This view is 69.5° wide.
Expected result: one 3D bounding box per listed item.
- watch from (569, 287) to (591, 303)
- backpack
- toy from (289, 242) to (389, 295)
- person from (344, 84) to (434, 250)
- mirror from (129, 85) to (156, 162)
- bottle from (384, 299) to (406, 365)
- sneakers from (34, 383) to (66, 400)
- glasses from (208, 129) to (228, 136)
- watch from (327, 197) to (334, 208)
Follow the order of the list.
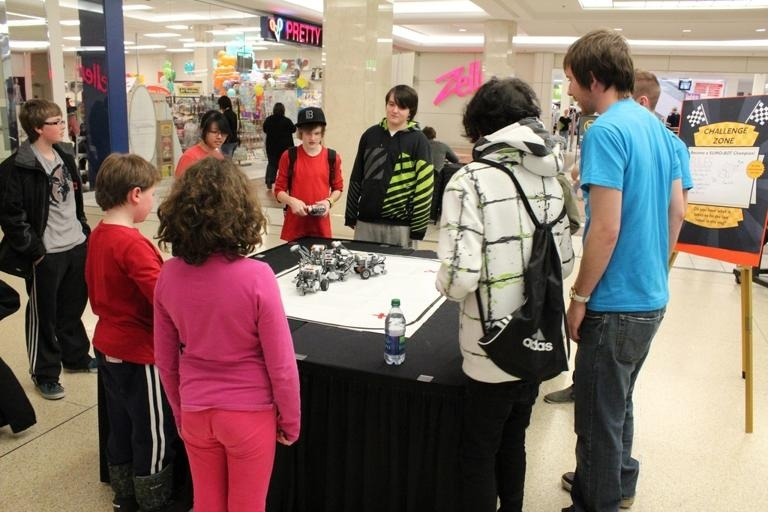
[{"bbox_3d":[0.966,0.187,2.763,0.092,0.061,0.095,5,-3,6],"label":"watch"},{"bbox_3d":[0.620,0.060,2.482,0.458,0.959,0.202,5,12,8],"label":"backpack"},{"bbox_3d":[-0.341,0.061,3.546,0.333,0.171,0.477,13,18,40],"label":"toy"},{"bbox_3d":[0.042,-0.707,4.437,0.709,1.300,0.418,3,12,2],"label":"person"},{"bbox_3d":[-4.143,-2.255,9.470,0.331,1.326,0.752,3,12,-2],"label":"mirror"},{"bbox_3d":[0.061,0.399,2.757,0.109,0.249,0.187,3,11,2],"label":"bottle"},{"bbox_3d":[-2.348,0.952,3.924,0.246,0.095,0.089,7,10,16],"label":"sneakers"},{"bbox_3d":[-1.238,-0.935,4.210,0.051,0.047,0.165,9,13,28],"label":"glasses"},{"bbox_3d":[-0.408,-0.433,4.420,0.055,0.080,0.081,-7,6,-15],"label":"watch"}]
